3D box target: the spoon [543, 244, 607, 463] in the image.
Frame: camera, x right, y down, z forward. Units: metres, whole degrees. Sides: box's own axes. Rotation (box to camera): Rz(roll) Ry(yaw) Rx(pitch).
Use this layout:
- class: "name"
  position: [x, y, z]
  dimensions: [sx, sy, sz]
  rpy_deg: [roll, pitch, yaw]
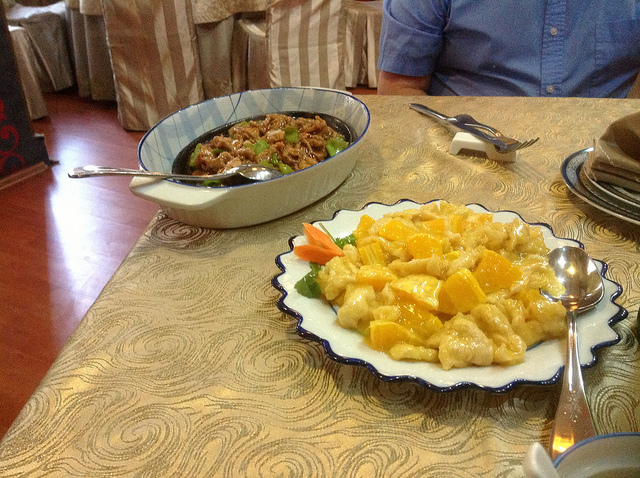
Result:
- class: "spoon"
  position: [0.425, 0.177, 0.816]
  dimensions: [0.092, 0.049, 0.490]
  rpy_deg: [-2, 31, 28]

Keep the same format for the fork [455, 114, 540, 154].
- class: "fork"
  position: [0.508, -0.300, 1.394]
  dimensions: [0.042, 0.050, 0.204]
  rpy_deg: [-35, 43, -12]

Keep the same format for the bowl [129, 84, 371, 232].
- class: "bowl"
  position: [-0.168, -0.243, 1.295]
  dimensions: [0.612, 0.147, 0.424]
  rpy_deg: [-27, 47, -27]

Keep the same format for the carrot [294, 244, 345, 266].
- class: "carrot"
  position: [-0.010, 0.029, 0.956]
  dimensions: [0.068, 0.017, 0.047]
  rpy_deg: [19, 40, 14]

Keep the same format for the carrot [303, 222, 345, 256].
- class: "carrot"
  position: [0.006, -0.003, 0.980]
  dimensions: [0.024, 0.032, 0.133]
  rpy_deg: [-10, 34, -21]

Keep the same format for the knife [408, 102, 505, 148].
- class: "knife"
  position: [0.361, -0.383, 1.483]
  dimensions: [0.075, 0.039, 0.501]
  rpy_deg: [-39, 42, -16]
